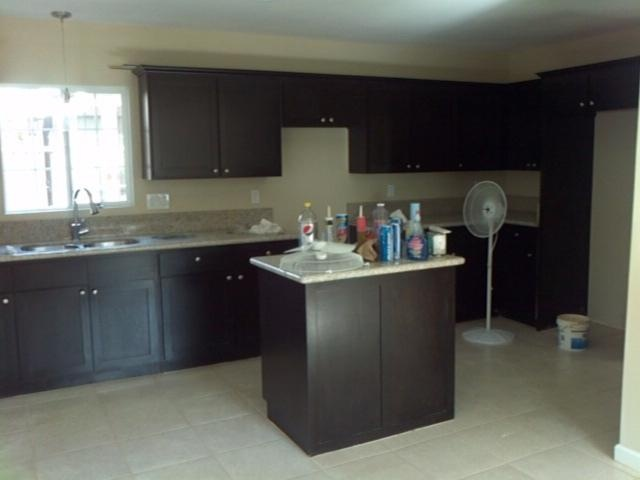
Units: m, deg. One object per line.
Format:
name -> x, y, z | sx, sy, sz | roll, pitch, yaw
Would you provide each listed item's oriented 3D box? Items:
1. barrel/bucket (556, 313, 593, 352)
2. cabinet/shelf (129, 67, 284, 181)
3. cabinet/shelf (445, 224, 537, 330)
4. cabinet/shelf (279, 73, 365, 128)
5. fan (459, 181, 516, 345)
barrel/bucket -> 2.521, 0.876, 5.204 | 0.314, 0.302, 0.317 | -2, 10, 0
cabinet/shelf -> -1.078, -1.134, 5.215 | 1.346, 1.002, 0.454 | -7, 13, -30
cabinet/shelf -> 1.823, 0.361, 5.605 | 0.743, 1.403, 1.020 | -2, 5, -21
cabinet/shelf -> 0.048, -1.448, 5.649 | 0.868, 0.519, 0.460 | -1, -3, -7
fan -> 1.755, 0.189, 5.541 | 0.538, 1.618, 0.896 | 1, 13, 8
